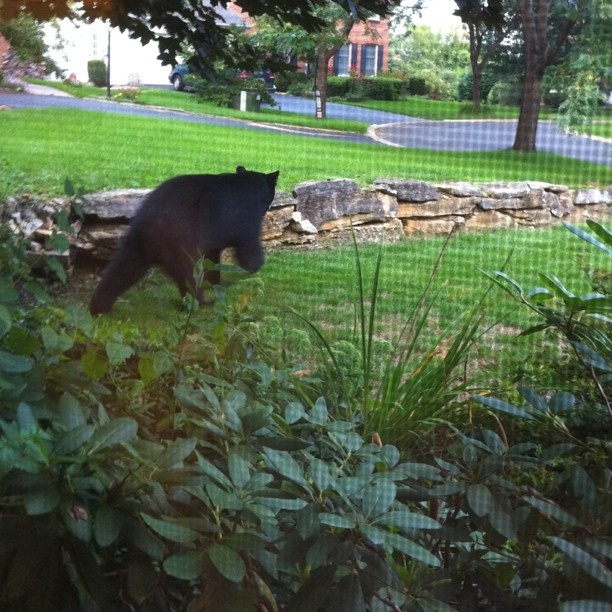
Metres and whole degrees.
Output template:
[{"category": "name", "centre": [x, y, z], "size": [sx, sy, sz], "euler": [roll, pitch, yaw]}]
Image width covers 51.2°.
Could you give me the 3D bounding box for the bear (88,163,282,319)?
[{"category": "bear", "centre": [-0.393, -0.250, 2.182], "size": [0.274, 0.456, 0.810], "euler": [26, 40, 36]}]
